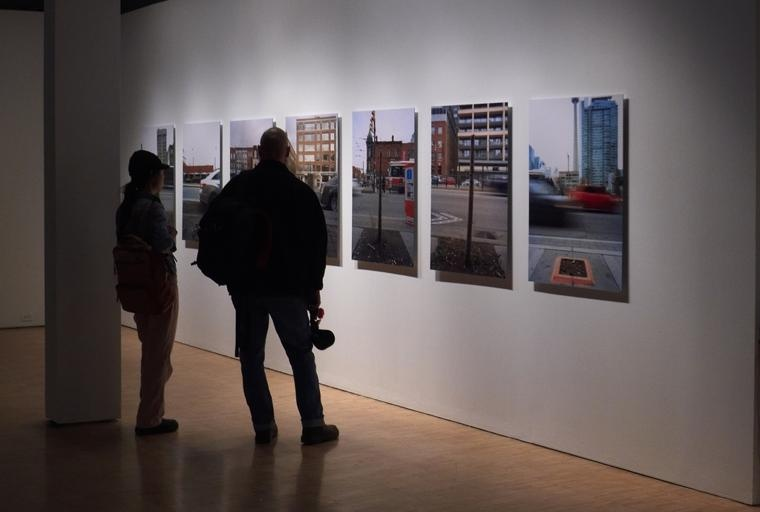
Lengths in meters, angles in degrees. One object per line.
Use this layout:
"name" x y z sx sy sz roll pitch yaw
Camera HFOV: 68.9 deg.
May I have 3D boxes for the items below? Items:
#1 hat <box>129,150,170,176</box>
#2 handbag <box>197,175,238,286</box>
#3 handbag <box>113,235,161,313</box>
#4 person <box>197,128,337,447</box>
"hat" -2.002 -0.793 4.815 0.293 0.168 0.219 -17 16 -25
"handbag" -1.325 -0.175 4.517 0.384 0.851 0.217 0 5 -1
"handbag" -2.039 0.166 4.675 0.452 0.655 0.122 1 5 10
"person" -0.892 0.264 4.598 1.082 2.635 0.330 0 5 -4
